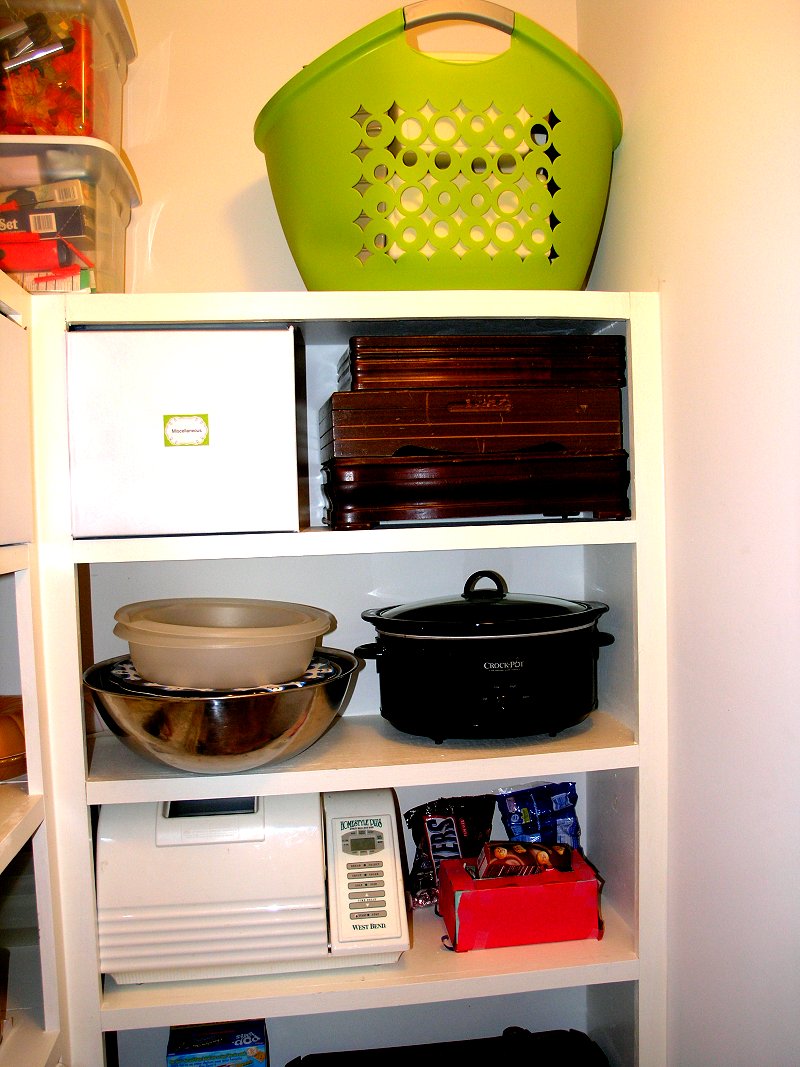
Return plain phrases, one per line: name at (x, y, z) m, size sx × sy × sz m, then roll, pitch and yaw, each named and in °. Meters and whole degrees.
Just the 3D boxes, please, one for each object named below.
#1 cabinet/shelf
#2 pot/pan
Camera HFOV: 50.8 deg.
cabinet/shelf at (-0.045, 0.226, 1.225) m, size 0.868 × 1.122 × 0.321 m, roll -3°, pitch 11°, yaw -7°
pot/pan at (0.121, 0.190, 1.304) m, size 0.290 × 0.188 × 0.248 m, roll -1°, pitch -5°, yaw -4°
